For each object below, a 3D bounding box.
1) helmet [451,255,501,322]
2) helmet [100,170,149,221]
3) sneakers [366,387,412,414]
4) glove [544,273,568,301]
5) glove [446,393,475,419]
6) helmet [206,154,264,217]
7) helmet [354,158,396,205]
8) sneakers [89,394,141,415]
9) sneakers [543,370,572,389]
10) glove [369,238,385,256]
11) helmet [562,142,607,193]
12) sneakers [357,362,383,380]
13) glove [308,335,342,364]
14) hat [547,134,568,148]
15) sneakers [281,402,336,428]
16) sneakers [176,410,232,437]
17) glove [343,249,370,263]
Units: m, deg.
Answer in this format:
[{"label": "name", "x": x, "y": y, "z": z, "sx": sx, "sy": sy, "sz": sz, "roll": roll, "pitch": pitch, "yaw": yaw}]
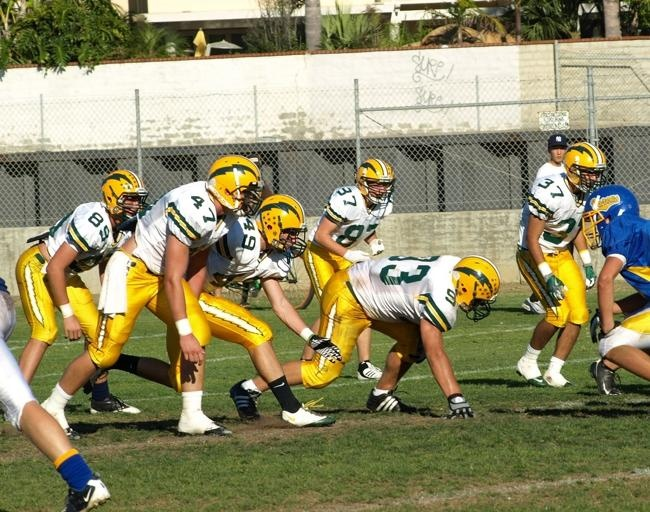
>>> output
[{"label": "helmet", "x": 1.185, "y": 0.223, "z": 7.675, "sx": 0.332, "sy": 0.419, "sz": 0.232, "roll": -2, "pitch": 7, "yaw": 6}, {"label": "helmet", "x": -1.742, "y": -0.529, "z": 8.356, "sx": 0.469, "sy": 0.373, "sz": 0.348, "roll": 17, "pitch": 13, "yaw": 17}, {"label": "sneakers", "x": 0.590, "y": 1.242, "z": 8.343, "sx": 0.484, "sy": 0.197, "sz": 0.150, "roll": 5, "pitch": 0, "yaw": -4}, {"label": "glove", "x": 2.152, "y": 0.285, "z": 9.159, "sx": 0.176, "sy": 0.262, "sz": 0.181, "roll": 0, "pitch": 7, "yaw": 21}, {"label": "glove", "x": 1.063, "y": 1.180, "z": 7.699, "sx": 0.198, "sy": 0.203, "sz": 0.101, "roll": -2, "pitch": 7, "yaw": 7}, {"label": "helmet", "x": -0.666, "y": -0.533, "z": 7.593, "sx": 0.514, "sy": 0.418, "sz": 0.384, "roll": 21, "pitch": 16, "yaw": -10}, {"label": "helmet", "x": 0.536, "y": -0.766, "z": 10.191, "sx": 0.373, "sy": 0.483, "sz": 0.362, "roll": 2, "pitch": 8, "yaw": 34}, {"label": "sneakers", "x": -1.872, "y": 1.329, "z": 8.700, "sx": 0.491, "sy": 0.167, "sz": 0.159, "roll": 1, "pitch": -2, "yaw": 0}, {"label": "sneakers", "x": 2.165, "y": 1.147, "z": 9.143, "sx": 0.249, "sy": 0.130, "sz": 0.162, "roll": -1, "pitch": 6, "yaw": 11}, {"label": "glove", "x": 0.589, "y": -0.072, "z": 10.845, "sx": 0.090, "sy": 0.192, "sz": 0.154, "roll": 21, "pitch": 30, "yaw": -22}, {"label": "helmet", "x": 2.472, "y": -0.877, "z": 9.340, "sx": 0.402, "sy": 0.396, "sz": 0.486, "roll": -12, "pitch": 23, "yaw": -41}, {"label": "sneakers", "x": 0.448, "y": 1.166, "z": 9.964, "sx": 0.265, "sy": 0.147, "sz": 0.145, "roll": -1, "pitch": 4, "yaw": 8}, {"label": "glove", "x": 0.012, "y": 0.767, "z": 8.044, "sx": 0.288, "sy": 0.166, "sz": 0.073, "roll": 30, "pitch": -35, "yaw": 0}, {"label": "hat", "x": 2.819, "y": -1.411, "z": 11.902, "sx": 0.205, "sy": 0.131, "sz": 0.261, "roll": 2, "pitch": 0, "yaw": 3}, {"label": "sneakers", "x": -0.147, "y": 1.301, "z": 7.916, "sx": 0.464, "sy": 0.169, "sz": 0.157, "roll": -1, "pitch": -5, "yaw": 6}, {"label": "sneakers", "x": -0.988, "y": 1.343, "z": 7.816, "sx": 0.516, "sy": 0.197, "sz": 0.163, "roll": 0, "pitch": -1, "yaw": 2}, {"label": "glove", "x": 0.310, "y": 0.000, "z": 9.912, "sx": 0.195, "sy": 0.046, "sz": 0.133, "roll": 16, "pitch": 11, "yaw": -5}]
